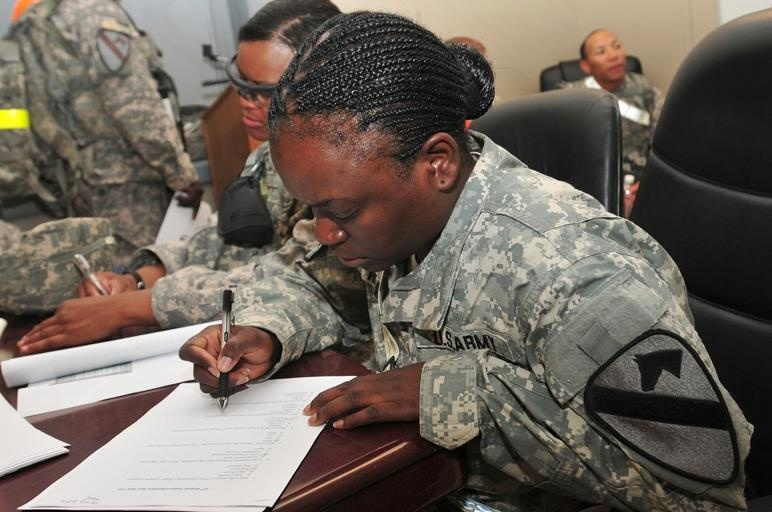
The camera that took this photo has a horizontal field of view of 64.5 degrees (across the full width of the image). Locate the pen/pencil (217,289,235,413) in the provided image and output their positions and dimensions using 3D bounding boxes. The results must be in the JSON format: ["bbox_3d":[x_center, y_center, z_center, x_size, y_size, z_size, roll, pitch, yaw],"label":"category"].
[{"bbox_3d":[-0.318,0.182,1.225,0.030,0.022,0.264,-22,50,17],"label":"pen/pencil"}]
